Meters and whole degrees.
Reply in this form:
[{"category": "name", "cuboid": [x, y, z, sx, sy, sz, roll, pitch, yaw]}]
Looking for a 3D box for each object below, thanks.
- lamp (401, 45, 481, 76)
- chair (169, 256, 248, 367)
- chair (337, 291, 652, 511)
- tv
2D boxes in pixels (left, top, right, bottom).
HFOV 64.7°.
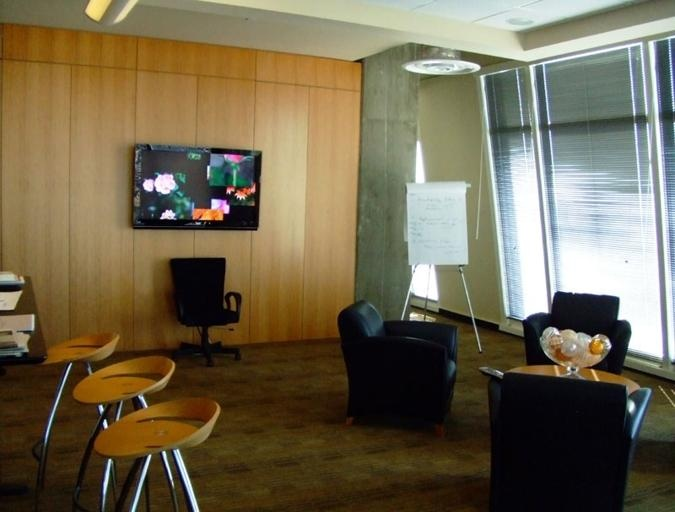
[{"category": "lamp", "cuboid": [1.087, -2.129, 5.740, 0.767, 0.309, 0.584, 1, 9, -5]}, {"category": "chair", "cuboid": [-1.557, 0.636, 6.204, 0.787, 1.157, 0.840, 5, 8, 21]}, {"category": "chair", "cuboid": [1.173, 1.070, 4.179, 2.201, 1.047, 2.453, 1, 9, -8]}, {"category": "tv", "cuboid": [-1.653, -0.790, 6.404, 1.499, 0.994, 0.086, -2, 14, -29]}]
